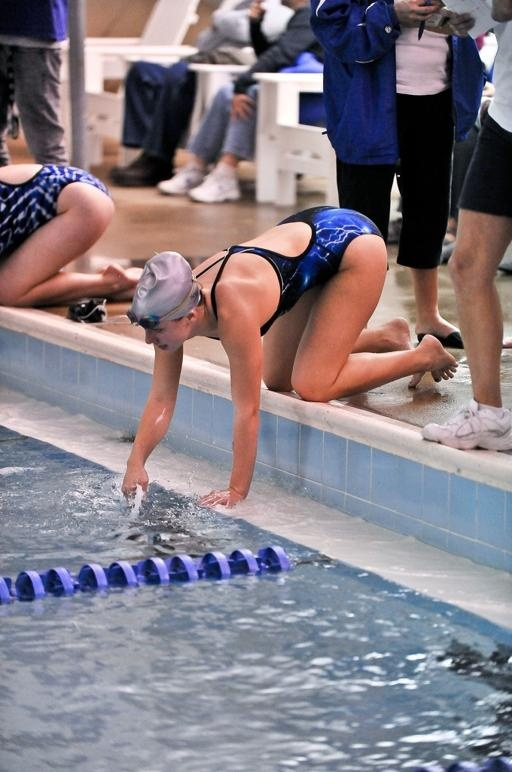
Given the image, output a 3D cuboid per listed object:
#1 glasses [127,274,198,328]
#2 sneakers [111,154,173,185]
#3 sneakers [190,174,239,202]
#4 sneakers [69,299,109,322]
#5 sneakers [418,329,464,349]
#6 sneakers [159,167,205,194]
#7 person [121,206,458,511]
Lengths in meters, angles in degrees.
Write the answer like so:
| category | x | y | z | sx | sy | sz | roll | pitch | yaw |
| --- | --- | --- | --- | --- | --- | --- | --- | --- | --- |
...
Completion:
| category | x | y | z | sx | sy | sz | roll | pitch | yaw |
| --- | --- | --- | --- | --- | --- | --- | --- | --- | --- |
| glasses | -0.208 | -0.190 | 1.828 | 0.138 | 0.044 | 0.111 | -34 | 32 | -14 |
| sneakers | -0.931 | -1.772 | 6.380 | 0.600 | 0.239 | 0.226 | -10 | 22 | -31 |
| sneakers | -0.284 | -1.473 | 5.795 | 0.478 | 0.213 | 0.163 | -11 | 32 | -23 |
| sneakers | -0.687 | -0.310 | 3.198 | 0.128 | 0.053 | 0.093 | -2 | 9 | -21 |
| sneakers | 0.645 | -0.163 | 2.805 | 0.226 | 0.056 | 0.075 | 6 | 12 | 25 |
| sneakers | -0.536 | -1.600 | 6.047 | 0.430 | 0.174 | 0.153 | -26 | 38 | -34 |
| person | 0.066 | -0.108 | 2.201 | 1.029 | 0.804 | 0.411 | -6 | 15 | -39 |
